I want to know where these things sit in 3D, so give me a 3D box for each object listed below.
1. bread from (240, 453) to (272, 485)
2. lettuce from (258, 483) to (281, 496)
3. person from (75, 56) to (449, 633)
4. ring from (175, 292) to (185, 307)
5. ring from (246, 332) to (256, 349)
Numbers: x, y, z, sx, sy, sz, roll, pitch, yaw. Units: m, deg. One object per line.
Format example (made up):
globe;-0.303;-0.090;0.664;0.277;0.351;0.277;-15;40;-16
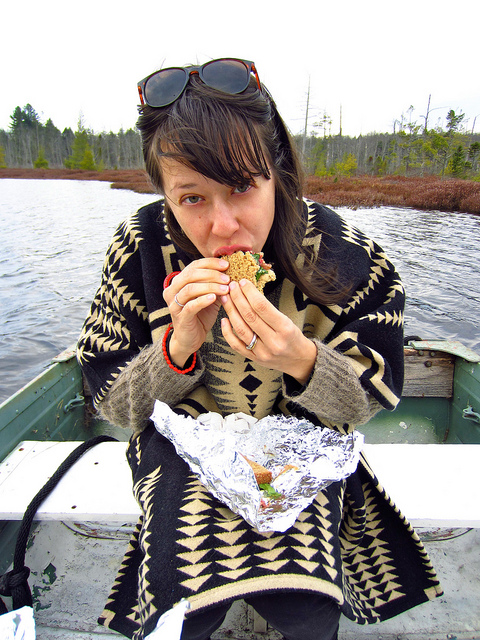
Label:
bread;0.070;0.500;1.639;0.103;0.029;0.108;32;-6;-37
lettuce;0.095;0.550;1.585;0.039;0.018;0.083;-6;14;-25
person;0.045;0.028;1.777;1.100;1.757;1.177;-7;15;-24
ring;-0.214;-0.067;1.685;0.033;0.046;0.017;3;14;16
ring;0.037;0.072;1.643;0.028;0.052;0.020;0;14;4
